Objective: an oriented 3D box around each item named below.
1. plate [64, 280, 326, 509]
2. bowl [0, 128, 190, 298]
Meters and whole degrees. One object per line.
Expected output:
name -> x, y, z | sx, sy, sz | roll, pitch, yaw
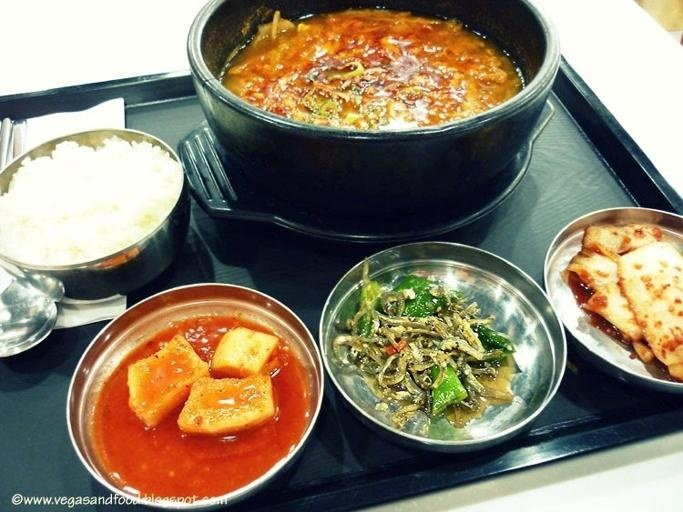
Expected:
plate -> -0.409, 0.365, 1.550 | 0.681, 0.144, 0.674 | -32, 66, -16
bowl -> -0.724, -0.120, 1.849 | 0.575, 0.330, 0.609 | 2, 55, -4
